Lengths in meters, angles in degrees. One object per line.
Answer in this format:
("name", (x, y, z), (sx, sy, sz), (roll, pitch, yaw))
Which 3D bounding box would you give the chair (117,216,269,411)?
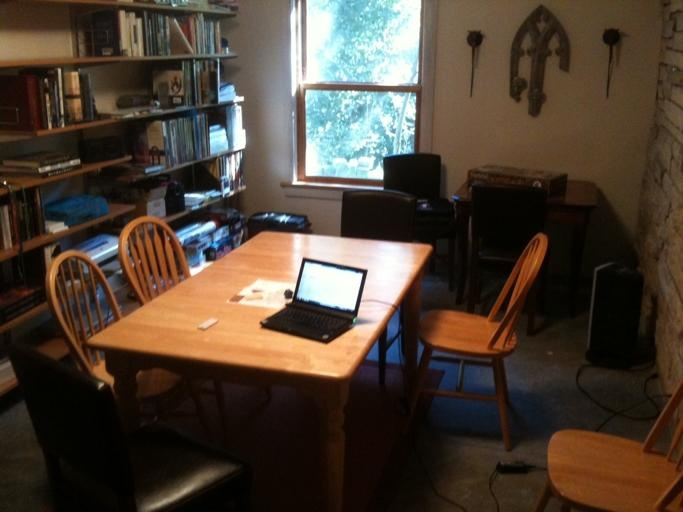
("chair", (-0.782, 0.316, 2.950), (0.671, 1.073, 0.611), (8, 16, 29))

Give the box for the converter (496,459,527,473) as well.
("converter", (0.830, 1.022, 2.624), (0.162, 0.038, 0.077), (-2, 21, -6))

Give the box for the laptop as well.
("laptop", (-0.119, 0.174, 2.293), (0.353, 0.228, 0.348), (7, 15, 26))

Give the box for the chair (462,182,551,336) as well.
("chair", (1.256, -0.008, 4.098), (0.576, 1.098, 0.651), (9, 16, 30))

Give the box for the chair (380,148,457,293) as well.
("chair", (0.748, -0.295, 4.961), (0.645, 1.115, 0.728), (-9, -9, 27))

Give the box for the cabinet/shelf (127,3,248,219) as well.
("cabinet/shelf", (-1.231, -1.147, 4.276), (0.456, 1.551, 1.603), (0, 20, 6))

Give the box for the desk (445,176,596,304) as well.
("desk", (1.441, -0.054, 4.368), (1.066, 0.844, 0.972), (6, 9, 28))

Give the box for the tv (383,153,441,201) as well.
("tv", (0.603, -0.671, 4.599), (0.484, 0.463, 0.261), (1, 5, 5))

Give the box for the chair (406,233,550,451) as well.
("chair", (0.700, 0.416, 2.928), (0.675, 1.074, 0.606), (7, 14, 25))
